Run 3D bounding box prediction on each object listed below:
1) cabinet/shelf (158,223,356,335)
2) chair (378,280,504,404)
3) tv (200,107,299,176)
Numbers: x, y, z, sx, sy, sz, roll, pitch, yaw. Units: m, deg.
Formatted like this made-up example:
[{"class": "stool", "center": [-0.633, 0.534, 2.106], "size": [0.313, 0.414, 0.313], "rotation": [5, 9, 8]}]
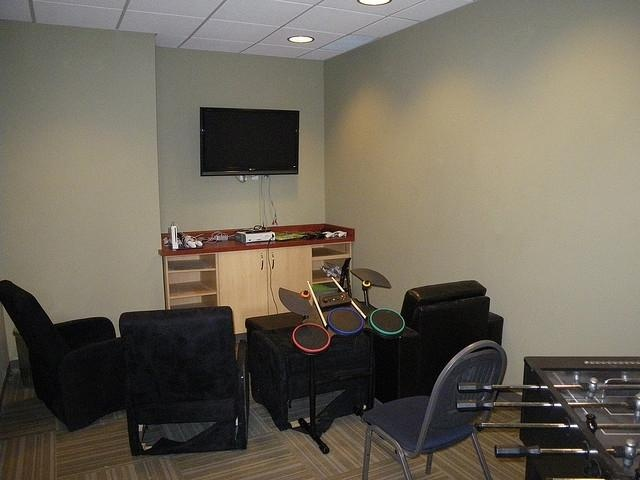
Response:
[{"class": "cabinet/shelf", "center": [-0.774, 0.473, 6.129], "size": [2.235, 1.264, 0.700], "rotation": [-6, 8, -20]}, {"class": "chair", "center": [1.049, 0.809, 4.152], "size": [0.739, 0.811, 0.586], "rotation": [-4, 5, -11]}, {"class": "tv", "center": [-0.845, -1.189, 6.070], "size": [1.263, 0.817, 0.109], "rotation": [-5, 18, -24]}]
